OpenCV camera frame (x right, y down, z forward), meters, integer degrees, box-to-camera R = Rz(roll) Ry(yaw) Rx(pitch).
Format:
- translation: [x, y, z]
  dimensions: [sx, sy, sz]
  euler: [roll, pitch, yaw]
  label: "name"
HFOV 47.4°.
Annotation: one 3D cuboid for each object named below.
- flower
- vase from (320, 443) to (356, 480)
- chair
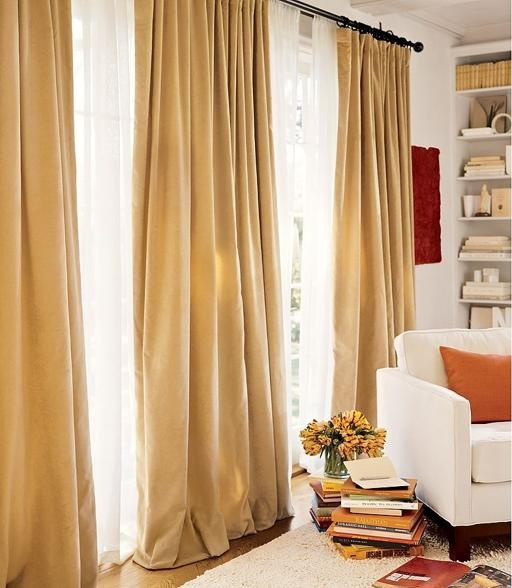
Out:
- translation: [0.368, 0.606, 2.426]
  dimensions: [0.244, 0.269, 0.269]
  euler: [-7, -12, 36]
  label: "flower"
- translation: [0.357, 0.688, 2.452]
  dimensions: [0.111, 0.200, 0.142]
  euler: [0, -4, 3]
  label: "vase"
- translation: [0.851, 0.577, 2.504]
  dimensions: [0.540, 0.951, 0.691]
  euler: [1, -7, -15]
  label: "chair"
